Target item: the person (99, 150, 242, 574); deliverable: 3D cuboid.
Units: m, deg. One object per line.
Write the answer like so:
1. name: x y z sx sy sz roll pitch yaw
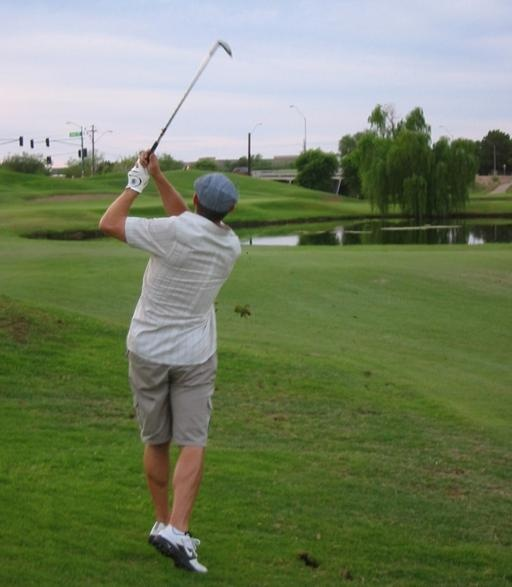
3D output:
1. person: -0.479 0.380 6.684 1.012 2.345 0.692 13 13 40

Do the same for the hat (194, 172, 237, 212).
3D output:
1. hat: -0.239 -0.653 6.724 0.258 0.190 0.367 12 34 -14

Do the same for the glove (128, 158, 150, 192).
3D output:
1. glove: -0.741 -0.734 6.855 0.139 0.223 0.100 1 -8 9
